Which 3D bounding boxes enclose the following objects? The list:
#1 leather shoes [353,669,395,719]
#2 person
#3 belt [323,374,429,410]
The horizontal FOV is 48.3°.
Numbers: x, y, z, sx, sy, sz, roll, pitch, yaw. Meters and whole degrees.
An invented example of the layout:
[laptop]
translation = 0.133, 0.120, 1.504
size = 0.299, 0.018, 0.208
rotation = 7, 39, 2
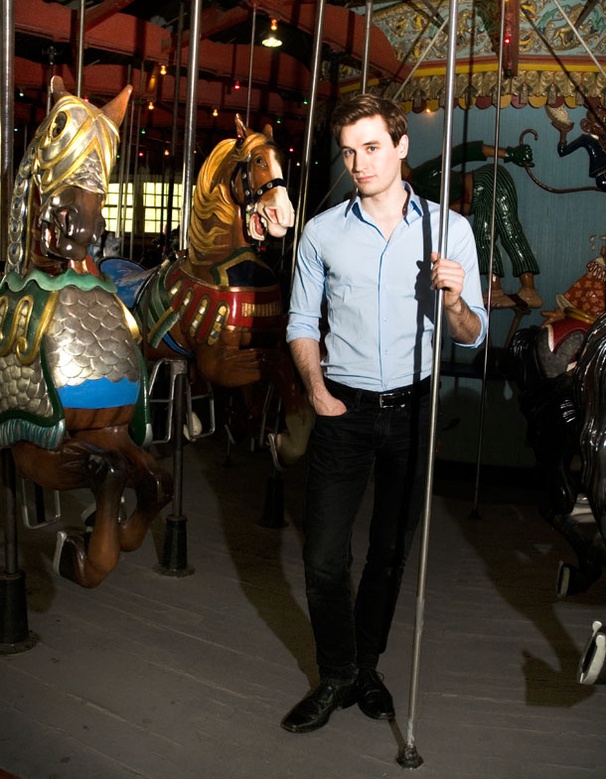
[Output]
[leather shoes]
translation = 0.194, 0.885, 1.982
size = 0.077, 0.071, 0.186
rotation = -3, 11, -16
[person]
translation = 0.143, 0.121, 1.796
size = 0.388, 1.670, 0.364
rotation = 3, 2, -8
[belt]
translation = 0.194, 0.013, 1.751
size = 0.266, 0.053, 0.123
rotation = 3, 2, 7
